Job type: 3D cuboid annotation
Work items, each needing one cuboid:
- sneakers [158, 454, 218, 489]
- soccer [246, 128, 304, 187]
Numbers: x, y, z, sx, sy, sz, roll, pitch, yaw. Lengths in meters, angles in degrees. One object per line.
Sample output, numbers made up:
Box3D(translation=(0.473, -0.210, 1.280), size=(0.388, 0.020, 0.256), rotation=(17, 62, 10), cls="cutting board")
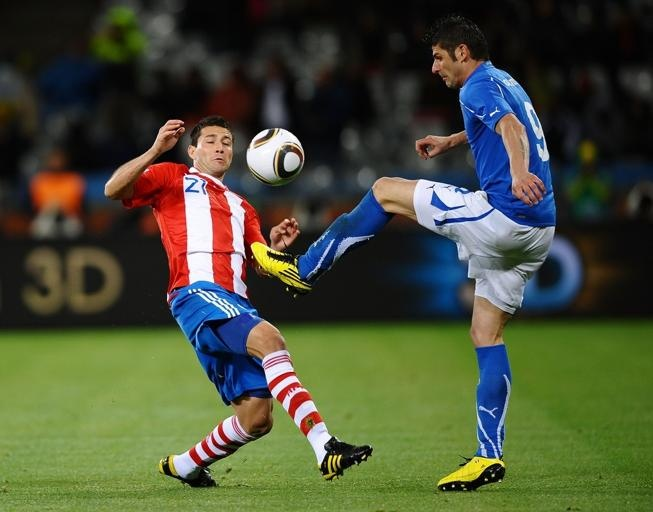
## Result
Box3D(translation=(-1.003, 1.570, 6.048), size=(0.467, 0.181, 0.215), rotation=(11, 18, -15), cls="sneakers")
Box3D(translation=(-0.410, -0.732, 6.574), size=(0.423, 0.442, 0.410), rotation=(-4, 1, -8), cls="soccer")
